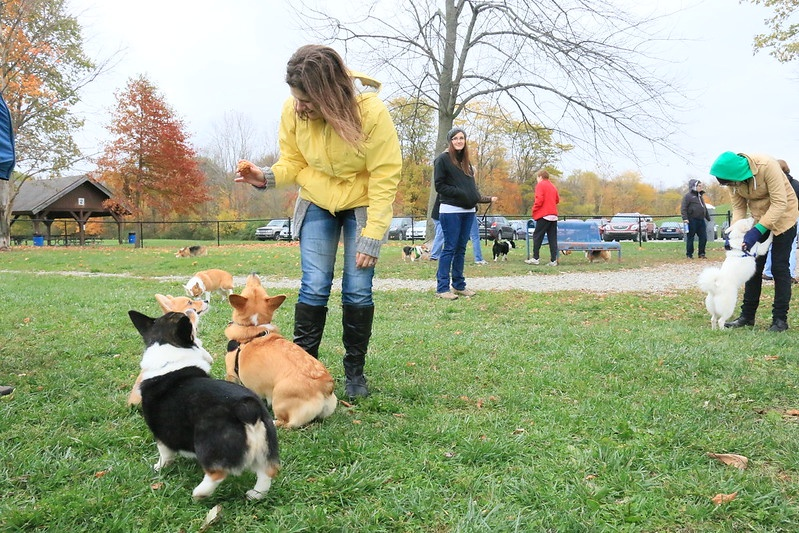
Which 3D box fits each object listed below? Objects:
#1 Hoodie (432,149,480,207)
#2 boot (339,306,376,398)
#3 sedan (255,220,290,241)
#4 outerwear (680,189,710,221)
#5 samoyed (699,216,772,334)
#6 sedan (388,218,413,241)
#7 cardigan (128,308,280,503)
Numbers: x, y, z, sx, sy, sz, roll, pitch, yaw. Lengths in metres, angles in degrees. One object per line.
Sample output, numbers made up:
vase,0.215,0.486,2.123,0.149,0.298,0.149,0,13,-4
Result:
Hoodie,0.940,-1.391,10.261,0.730,0.962,0.470,1,1,1
boot,-0.423,0.834,6.218,0.400,0.817,0.446,1,-1,-3
sedan,-7.299,-2.153,37.001,1.394,1.065,2.406,1,2,34
outerwear,7.732,-1.564,16.854,1.099,0.993,0.663,-12,10,-42
samoyed,4.402,0.107,8.409,0.866,1.545,0.604,0,0,15
sedan,0.154,-2.252,37.933,1.217,0.960,2.024,1,3,31
cardigan,-1.608,1.202,5.245,2.228,1.405,0.849,-1,-2,29
